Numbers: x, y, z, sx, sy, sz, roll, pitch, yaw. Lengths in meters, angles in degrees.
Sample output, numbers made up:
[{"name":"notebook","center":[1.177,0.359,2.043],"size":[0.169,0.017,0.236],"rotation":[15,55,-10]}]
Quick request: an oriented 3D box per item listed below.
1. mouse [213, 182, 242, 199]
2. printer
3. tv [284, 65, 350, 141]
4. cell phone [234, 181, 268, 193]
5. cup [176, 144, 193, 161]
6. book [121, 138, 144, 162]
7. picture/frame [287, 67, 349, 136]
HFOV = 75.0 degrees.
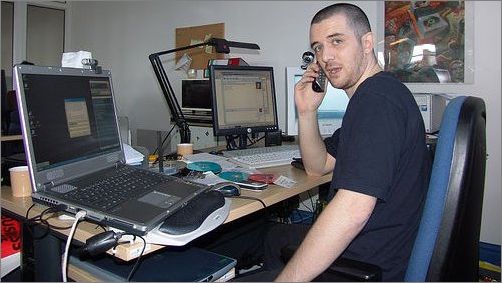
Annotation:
[{"name":"mouse","center":[-0.113,0.239,1.612],"size":[0.100,0.027,0.077],"rotation":[3,5,-32]},{"name":"printer","center":[1.086,-0.162,1.985],"size":[0.162,0.179,0.302],"rotation":[16,24,41]},{"name":"tv","center":[0.566,-0.305,2.626],"size":[0.602,0.526,0.076],"rotation":[9,17,40]},{"name":"cell phone","center":[0.015,0.231,1.718],"size":[0.126,0.018,0.063],"rotation":[5,10,31]},{"name":"cup","center":[-0.460,0.073,2.183],"size":[0.110,0.100,0.102],"rotation":[0,-1,0]},{"name":"book","center":[-0.675,0.046,1.826],"size":[0.109,0.023,0.110],"rotation":[26,29,32]},{"name":"picture/frame","center":[0.537,-0.293,2.611],"size":[0.625,0.529,0.071],"rotation":[-1,-3,-30]}]
